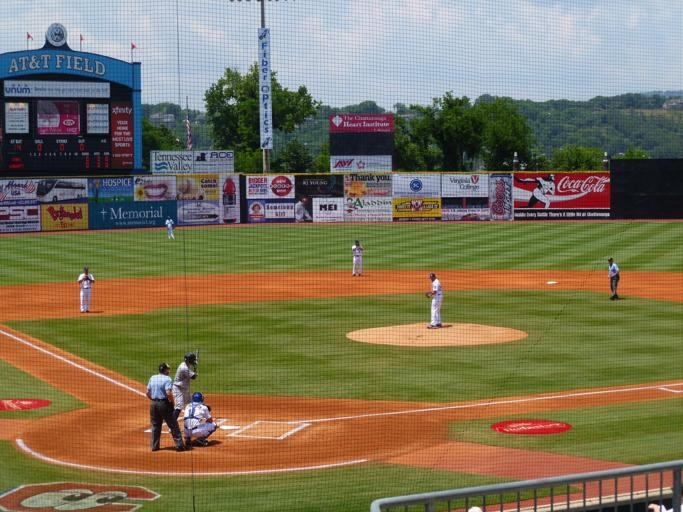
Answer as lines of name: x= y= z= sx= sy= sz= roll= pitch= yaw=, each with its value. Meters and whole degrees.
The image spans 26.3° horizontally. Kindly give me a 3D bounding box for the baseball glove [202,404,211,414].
baseball glove: x=-3.986 y=4.470 z=42.582 sx=0.166 sy=0.304 sz=0.306 roll=-5 pitch=12 yaw=-18
